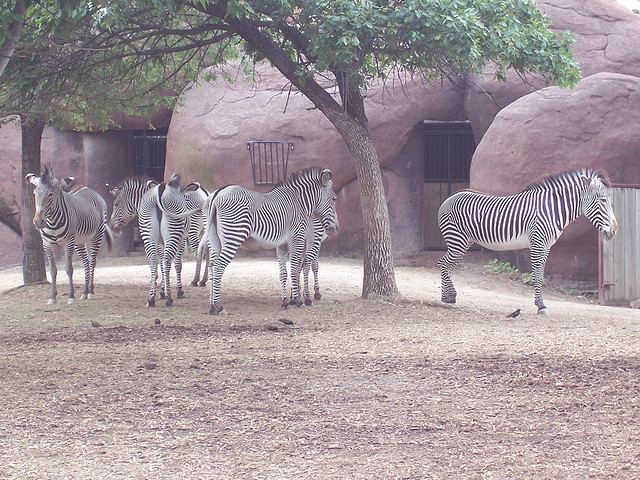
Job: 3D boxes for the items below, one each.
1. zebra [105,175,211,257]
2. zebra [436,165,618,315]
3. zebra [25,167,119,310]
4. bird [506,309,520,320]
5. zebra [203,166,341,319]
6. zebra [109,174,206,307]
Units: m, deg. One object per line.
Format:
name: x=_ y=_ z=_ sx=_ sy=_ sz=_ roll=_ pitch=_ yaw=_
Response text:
zebra: x=-2.886 y=-0.646 z=18.235 sx=2.352 sy=1.118 sz=0.532 roll=-12 pitch=11 yaw=-37
zebra: x=4.149 y=0.028 z=18.985 sx=3.116 sy=2.456 sz=1.071 roll=1 pitch=-5 yaw=21
zebra: x=-4.537 y=-0.044 z=17.820 sx=0.953 sy=2.263 sz=3.568 roll=-3 pitch=1 yaw=4
bird: x=3.135 y=1.179 z=15.925 sx=0.210 sy=0.224 sz=0.520 roll=2 pitch=9 yaw=11
zebra: x=-0.809 y=-0.075 z=16.858 sx=2.941 sy=2.369 sz=0.852 roll=-1 pitch=-1 yaw=-36
zebra: x=-2.910 y=-0.036 z=17.267 sx=1.254 sy=2.279 sz=1.709 roll=-2 pitch=9 yaw=-19
